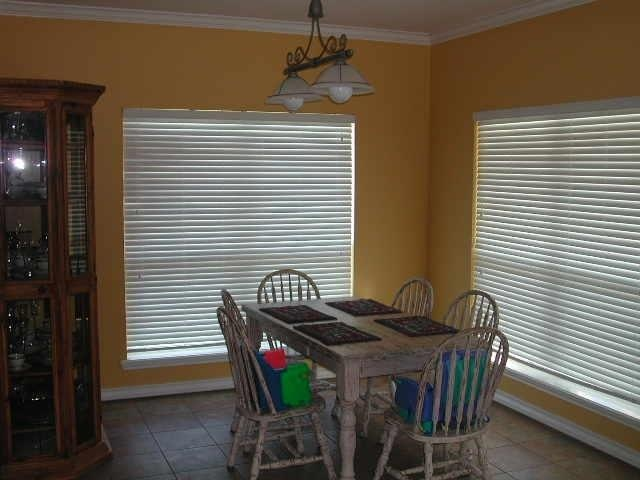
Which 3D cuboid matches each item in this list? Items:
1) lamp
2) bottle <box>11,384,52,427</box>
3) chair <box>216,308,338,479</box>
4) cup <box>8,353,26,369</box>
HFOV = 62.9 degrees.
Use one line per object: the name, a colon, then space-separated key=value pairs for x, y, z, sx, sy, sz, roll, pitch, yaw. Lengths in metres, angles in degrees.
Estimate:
lamp: x=-0.054 y=-1.512 z=4.221 sx=0.524 sy=1.029 sz=1.149 roll=-3 pitch=5 yaw=-33
bottle: x=-1.866 y=1.072 z=3.400 sx=0.218 sy=0.292 sz=0.103 roll=2 pitch=3 yaw=-15
chair: x=-0.300 y=1.028 z=4.061 sx=1.081 sy=1.621 sz=0.934 roll=-1 pitch=2 yaw=-14
cup: x=-1.950 y=0.777 z=3.371 sx=0.087 sy=0.085 sz=0.097 roll=-3 pitch=9 yaw=-41
